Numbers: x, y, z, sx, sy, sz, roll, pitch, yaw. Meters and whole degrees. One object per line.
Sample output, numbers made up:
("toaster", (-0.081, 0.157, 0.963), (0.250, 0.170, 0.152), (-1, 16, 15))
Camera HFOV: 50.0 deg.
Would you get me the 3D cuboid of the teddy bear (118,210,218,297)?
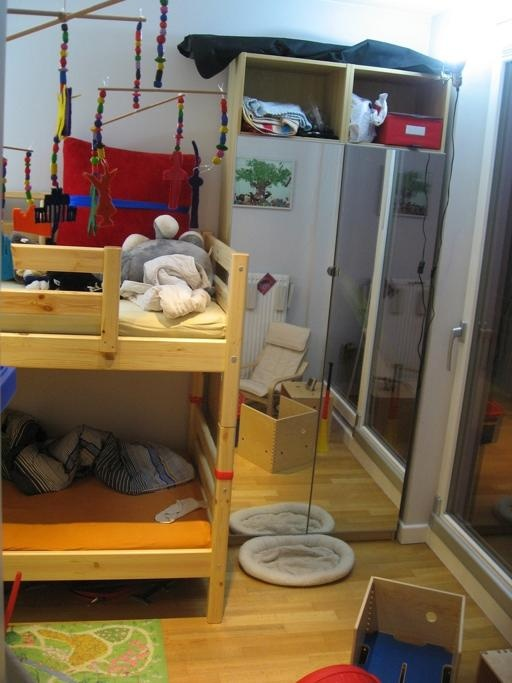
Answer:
("teddy bear", (-0.416, -0.434, 2.430), (0.341, 0.172, 0.442), (2, 39, -12))
